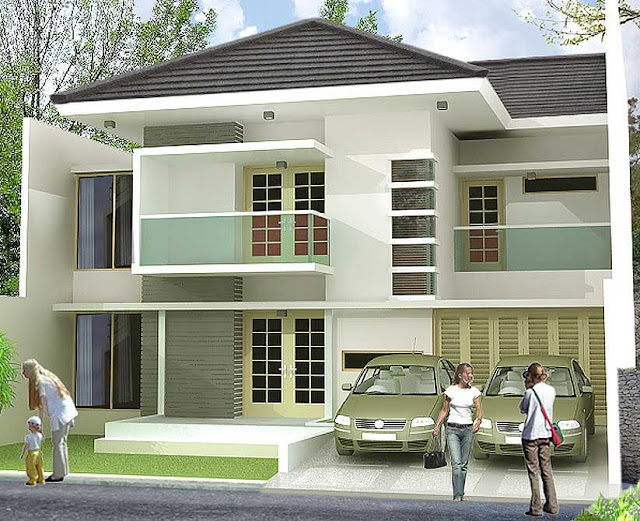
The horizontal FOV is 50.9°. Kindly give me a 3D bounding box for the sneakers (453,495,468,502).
[{"bbox_3d":[1.974,3.366,9.462,0.173,0.087,0.105,-7,-4,44],"label":"sneakers"}]

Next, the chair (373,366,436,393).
[{"bbox_3d":[1.700,2.353,13.076,1.528,0.430,0.575,-2,33,9],"label":"chair"}]

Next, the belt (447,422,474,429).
[{"bbox_3d":[1.925,2.250,9.205,0.356,0.076,0.120,0,-5,-5],"label":"belt"}]

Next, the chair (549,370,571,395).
[{"bbox_3d":[4.446,2.240,12.371,0.348,0.561,0.498,0,-8,10],"label":"chair"}]

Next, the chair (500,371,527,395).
[{"bbox_3d":[3.609,2.275,12.667,0.470,0.393,0.722,-2,-5,14],"label":"chair"}]

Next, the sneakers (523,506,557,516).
[{"bbox_3d":[2.794,3.170,8.541,0.421,0.182,0.138,1,-5,1],"label":"sneakers"}]
